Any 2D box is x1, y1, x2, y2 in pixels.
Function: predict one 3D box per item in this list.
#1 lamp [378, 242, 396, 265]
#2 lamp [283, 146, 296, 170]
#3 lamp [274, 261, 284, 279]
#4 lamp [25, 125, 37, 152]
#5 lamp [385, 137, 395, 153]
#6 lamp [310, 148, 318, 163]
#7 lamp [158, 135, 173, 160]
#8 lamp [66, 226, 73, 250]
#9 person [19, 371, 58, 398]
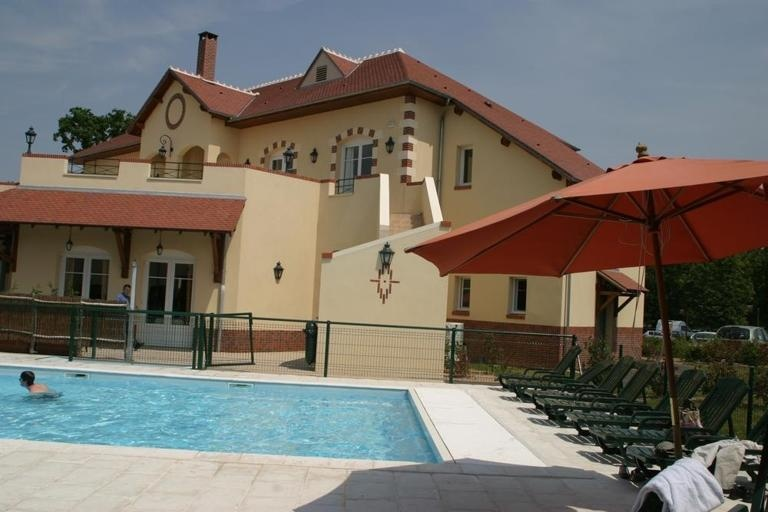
[{"bbox_3d":[0.083,-0.058,21.025,0.699,1.102,0.681,0,-3,-3],"label":"lamp"},{"bbox_3d":[-4.385,-4.503,28.413,0.729,0.916,0.503,1,-1,40],"label":"lamp"},{"bbox_3d":[-4.085,0.568,24.371,0.185,0.562,0.473,1,-1,37],"label":"lamp"},{"bbox_3d":[-14.533,-4.856,25.717,0.332,1.129,1.470,3,-1,-31],"label":"lamp"},{"bbox_3d":[0.211,-4.578,25.748,0.450,0.432,0.172,1,-1,40],"label":"lamp"},{"bbox_3d":[-3.108,-4.439,27.645,0.381,0.467,0.228,1,-1,35],"label":"lamp"},{"bbox_3d":[-10.604,-5.351,30.385,0.350,0.963,1.276,3,-1,-38],"label":"lamp"},{"bbox_3d":[-12.006,-0.659,23.911,0.272,0.852,0.203,1,-1,38],"label":"lamp"},{"bbox_3d":[-8.627,3.183,15.591,0.959,0.650,0.377,2,-1,0],"label":"person"}]
